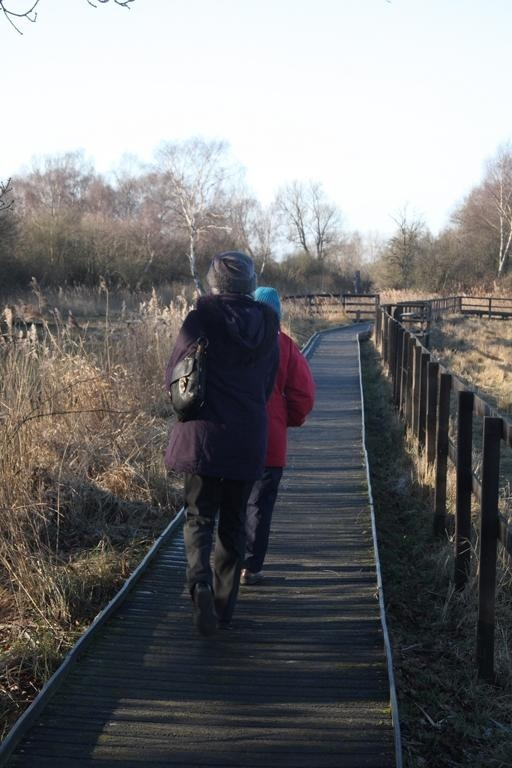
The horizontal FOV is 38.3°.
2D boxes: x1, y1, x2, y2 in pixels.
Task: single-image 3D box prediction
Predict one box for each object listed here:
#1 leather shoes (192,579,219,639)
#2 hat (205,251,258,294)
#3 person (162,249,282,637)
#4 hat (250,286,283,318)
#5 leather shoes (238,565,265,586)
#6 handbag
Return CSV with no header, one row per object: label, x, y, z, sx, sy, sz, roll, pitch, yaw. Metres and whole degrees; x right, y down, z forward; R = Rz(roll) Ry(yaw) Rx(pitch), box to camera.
leather shoes,-0.201,0.892,2.894,0.068,0.234,0.090,-6,15,-1
hat,-0.102,-0.479,3.138,0.136,0.193,0.217,3,18,2
person,-0.149,0.263,3.082,0.392,1.623,0.525,4,6,29
hat,0.052,-0.406,3.748,0.124,0.224,0.202,1,6,0
leather shoes,-0.032,0.961,3.681,0.047,0.077,0.144,2,6,19
handbag,-0.288,-0.084,2.889,0.237,0.420,0.131,19,32,19
